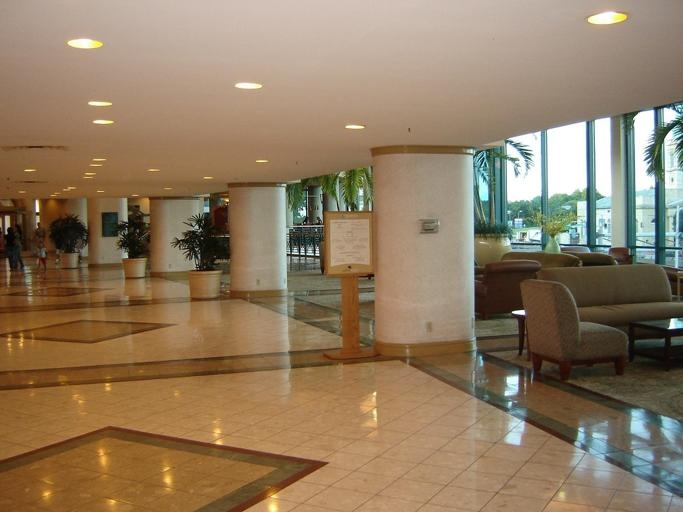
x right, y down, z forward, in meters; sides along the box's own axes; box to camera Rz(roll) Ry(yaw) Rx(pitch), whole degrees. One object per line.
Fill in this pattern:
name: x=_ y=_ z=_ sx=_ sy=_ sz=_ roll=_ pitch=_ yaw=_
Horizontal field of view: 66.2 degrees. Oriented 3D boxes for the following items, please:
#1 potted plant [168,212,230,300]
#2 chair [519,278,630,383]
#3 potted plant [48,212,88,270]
potted plant: x=-3.668 y=0.027 z=13.851 sx=1.240 sy=2.132 sz=1.182 roll=-4 pitch=5 yaw=-14
chair: x=2.814 y=0.855 z=6.929 sx=1.657 sy=1.225 sz=1.132 roll=-1 pitch=1 yaw=-15
potted plant: x=-12.616 y=-0.673 z=24.251 sx=1.306 sy=2.398 sz=1.263 roll=2 pitch=7 yaw=38
